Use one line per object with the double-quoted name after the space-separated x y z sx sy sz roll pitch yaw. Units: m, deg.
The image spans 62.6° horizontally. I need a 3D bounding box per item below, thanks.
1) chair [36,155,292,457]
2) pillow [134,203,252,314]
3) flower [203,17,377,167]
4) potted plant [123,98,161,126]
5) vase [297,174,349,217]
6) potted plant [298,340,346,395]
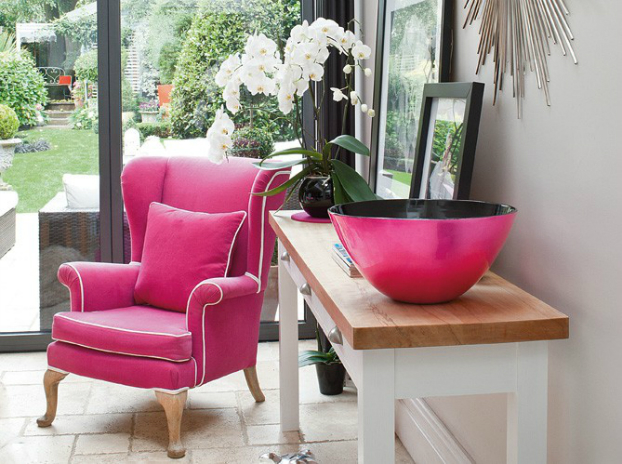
-0.656 0.277 2.490 0.930 1.243 0.886 5 12 26 "chair"
-0.660 0.134 2.608 0.579 0.517 0.309 9 15 31 "pillow"
-0.059 -0.552 1.974 0.604 0.550 0.427 1 11 6 "flower"
-1.084 -0.764 3.282 0.162 0.109 0.208 -2 5 -27 "potted plant"
0.026 -0.145 2.090 0.179 0.166 0.174 -3 7 -42 "vase"
0.117 0.732 2.739 0.330 0.231 0.323 8 -21 -43 "potted plant"
